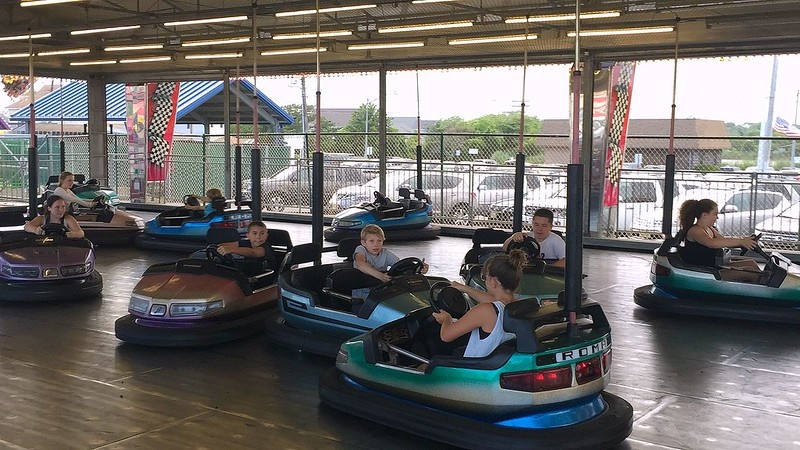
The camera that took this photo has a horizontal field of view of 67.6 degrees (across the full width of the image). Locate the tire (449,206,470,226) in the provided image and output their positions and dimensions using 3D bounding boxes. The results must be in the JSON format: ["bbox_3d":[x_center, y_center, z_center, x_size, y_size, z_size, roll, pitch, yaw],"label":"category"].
[{"bbox_3d":[1.239,-0.180,12.326,0.404,0.347,0.144,-18,-16,29],"label":"tire"}]

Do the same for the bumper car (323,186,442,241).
[{"bbox_3d":[-0.399,-0.199,11.526,2.385,0.805,1.471,-4,8,-30],"label":"bumper car"}]

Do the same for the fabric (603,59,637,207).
[{"bbox_3d":[4.015,-1.856,10.996,0.634,2.601,0.081,6,2,-40],"label":"fabric"}]

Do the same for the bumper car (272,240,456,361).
[{"bbox_3d":[-0.494,0.764,6.145,1.719,0.591,1.083,9,14,17],"label":"bumper car"}]

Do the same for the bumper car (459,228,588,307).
[{"bbox_3d":[1.280,0.467,6.773,0.966,0.535,1.261,1,13,-3],"label":"bumper car"}]

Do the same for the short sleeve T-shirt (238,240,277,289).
[{"bbox_3d":[-1.576,0.450,6.815,0.547,0.566,0.532,0,1,-39],"label":"short sleeve T-shirt"}]

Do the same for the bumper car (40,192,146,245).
[{"bbox_3d":[-5.217,-0.027,10.500,1.371,0.464,0.709,-6,12,-9],"label":"bumper car"}]

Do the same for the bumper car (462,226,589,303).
[{"bbox_3d":[1.518,0.305,6.602,0.940,1.204,0.612,-11,-1,29],"label":"bumper car"}]

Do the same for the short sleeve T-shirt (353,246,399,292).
[{"bbox_3d":[-0.251,0.459,6.019,0.477,0.235,0.499,17,26,23],"label":"short sleeve T-shirt"}]

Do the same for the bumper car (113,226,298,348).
[{"bbox_3d":[-2.131,0.607,6.915,1.495,0.843,2.192,5,9,18],"label":"bumper car"}]

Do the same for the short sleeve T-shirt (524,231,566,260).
[{"bbox_3d":[1.648,0.252,6.827,0.345,0.216,0.160,-14,-4,21],"label":"short sleeve T-shirt"}]
